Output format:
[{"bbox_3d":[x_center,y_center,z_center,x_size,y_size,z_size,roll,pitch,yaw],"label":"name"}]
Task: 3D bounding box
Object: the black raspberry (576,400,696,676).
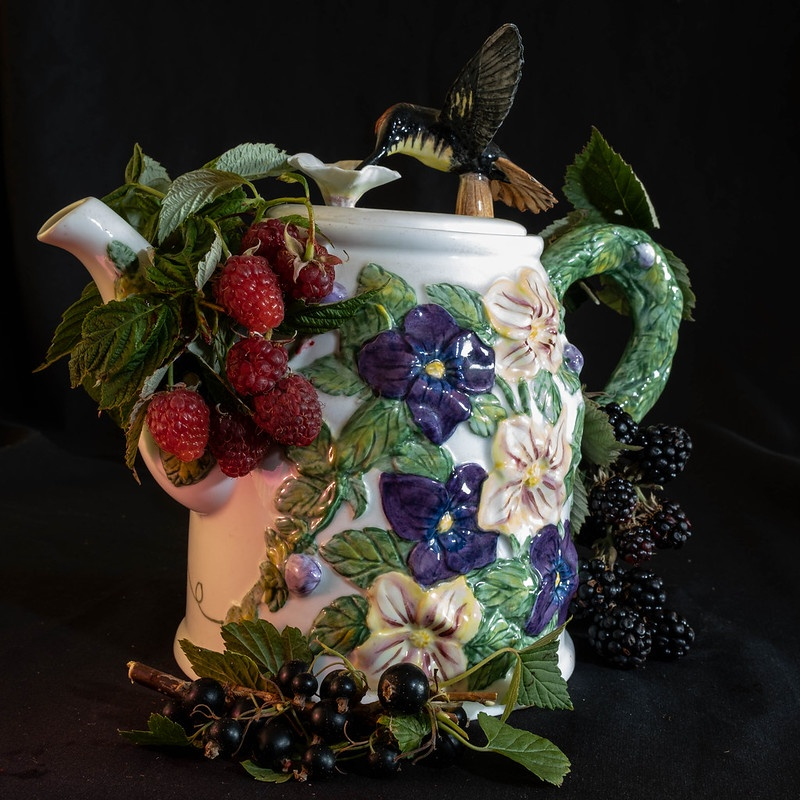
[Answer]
[{"bbox_3d":[0.283,0.175,1.255,0.101,0.190,0.289,6,76,-1],"label":"black raspberry"}]
